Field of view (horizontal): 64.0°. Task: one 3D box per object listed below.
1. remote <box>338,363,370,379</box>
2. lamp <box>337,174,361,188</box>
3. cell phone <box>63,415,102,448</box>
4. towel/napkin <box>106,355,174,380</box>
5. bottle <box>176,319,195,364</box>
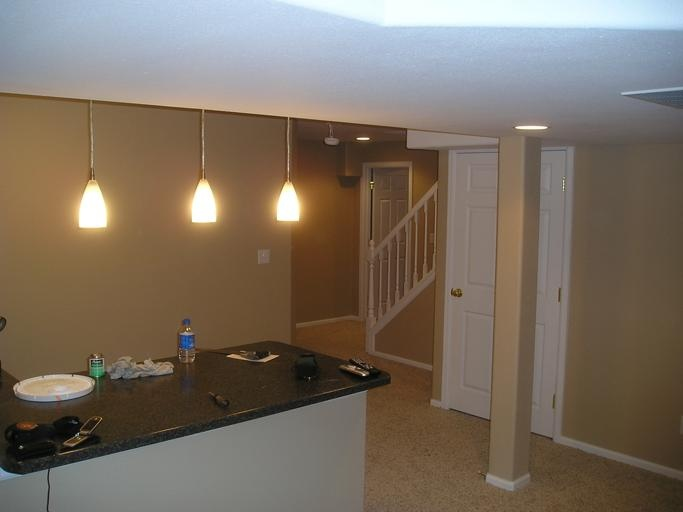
[{"bbox_3d":[0.074,0.653,3.144,0.205,0.031,0.089,10,11,39],"label":"remote"},{"bbox_3d":[0.096,-1.100,8.051,0.354,0.177,0.156,-4,12,-39],"label":"lamp"},{"bbox_3d":[-1.101,0.746,2.325,0.055,0.023,0.166,2,13,6],"label":"cell phone"},{"bbox_3d":[-1.124,0.625,3.039,0.222,0.072,0.181,3,-4,-35],"label":"towel/napkin"},{"bbox_3d":[-0.941,0.478,3.331,0.103,0.292,0.356,1,10,-16],"label":"bottle"}]
